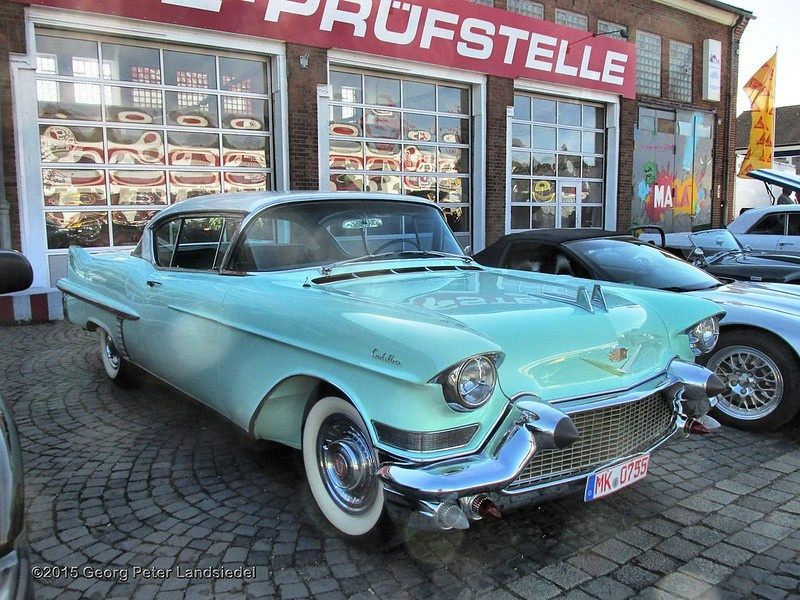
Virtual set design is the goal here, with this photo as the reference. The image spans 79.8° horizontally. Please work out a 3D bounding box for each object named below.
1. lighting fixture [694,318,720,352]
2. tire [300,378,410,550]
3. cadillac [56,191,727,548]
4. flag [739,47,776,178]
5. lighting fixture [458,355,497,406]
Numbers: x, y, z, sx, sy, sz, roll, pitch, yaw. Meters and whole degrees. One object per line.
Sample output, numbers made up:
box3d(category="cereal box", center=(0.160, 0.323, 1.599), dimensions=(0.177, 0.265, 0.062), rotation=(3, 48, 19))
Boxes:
box3d(category="lighting fixture", center=(2.051, 0.232, 3.223), dimensions=(0.237, 0.221, 0.086), rotation=(0, -6, -25))
box3d(category="tire", center=(-0.253, 0.919, 2.663), dimensions=(0.245, 0.850, 0.683), rotation=(-13, 17, -43))
box3d(category="cadillac", center=(-0.768, 0.197, 3.818), dimensions=(4.589, 1.177, 2.277), rotation=(8, 11, 44))
box3d(category="flag", center=(14.355, -7.382, 19.105), dimensions=(0.445, 5.112, 1.334), rotation=(-32, 32, -12))
box3d(category="lighting fixture", center=(0.353, 0.365, 2.182), dimensions=(0.233, 0.209, 0.085), rotation=(33, -20, -28))
